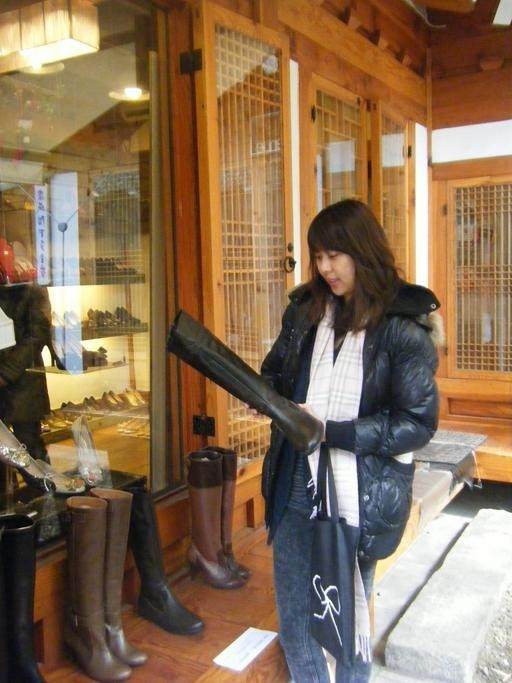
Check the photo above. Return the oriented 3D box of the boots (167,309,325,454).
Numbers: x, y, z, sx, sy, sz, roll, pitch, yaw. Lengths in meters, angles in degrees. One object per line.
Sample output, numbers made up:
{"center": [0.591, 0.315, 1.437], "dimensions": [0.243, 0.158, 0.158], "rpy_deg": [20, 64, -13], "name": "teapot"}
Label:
{"center": [0.003, 0.120, 1.354], "dimensions": [0.136, 0.486, 0.196], "rpy_deg": [-25, 27, 54], "name": "boots"}
